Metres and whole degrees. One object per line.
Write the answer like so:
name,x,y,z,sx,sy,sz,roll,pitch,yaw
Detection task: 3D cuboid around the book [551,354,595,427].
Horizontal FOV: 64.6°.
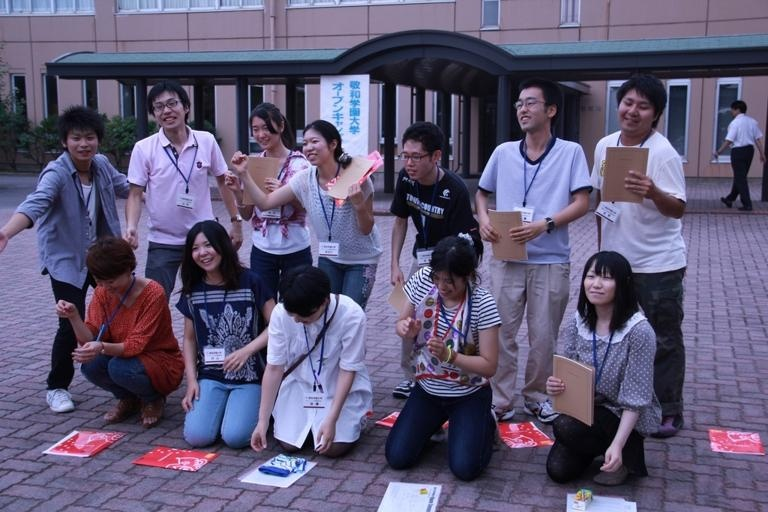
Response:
book,1.245,0.892,3.968,0.169,0.453,0.436,-3,6,-22

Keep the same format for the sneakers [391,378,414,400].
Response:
sneakers,0.171,1.165,5.270,0.106,0.135,0.303,-2,-3,34

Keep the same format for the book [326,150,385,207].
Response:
book,-0.237,-0.626,4.782,0.316,0.523,0.138,40,-2,44

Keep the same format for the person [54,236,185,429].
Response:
person,-2.047,0.583,4.805,0.829,1.501,0.469,-6,13,-20

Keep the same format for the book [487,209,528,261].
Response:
book,0.971,-0.168,4.719,0.359,0.501,0.054,-4,13,32

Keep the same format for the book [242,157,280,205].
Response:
book,-1.042,-0.636,5.138,0.383,0.561,0.059,1,-7,-2

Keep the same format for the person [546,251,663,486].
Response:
person,1.470,0.757,4.011,0.642,1.484,0.633,7,15,33

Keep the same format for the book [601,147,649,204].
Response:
book,1.754,-0.588,4.392,0.372,0.522,0.034,3,12,16

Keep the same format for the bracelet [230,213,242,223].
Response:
bracelet,-1.336,-0.335,5.526,0.087,0.065,0.090,-3,-8,-31

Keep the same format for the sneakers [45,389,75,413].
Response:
sneakers,-2.661,1.203,4.999,0.130,0.130,0.296,-13,15,-41

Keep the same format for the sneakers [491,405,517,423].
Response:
sneakers,0.959,1.279,4.893,0.255,0.125,0.096,4,-1,-31

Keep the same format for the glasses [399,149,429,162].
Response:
glasses,0.201,-0.781,4.713,0.290,0.072,0.147,11,18,41

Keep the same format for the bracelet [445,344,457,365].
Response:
bracelet,0.453,0.686,4.132,0.053,0.108,0.091,8,-7,-25

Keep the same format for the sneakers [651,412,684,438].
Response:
sneakers,2.189,1.265,4.717,0.164,0.193,0.470,-5,-2,38

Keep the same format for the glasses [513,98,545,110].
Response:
glasses,1.103,-1.177,4.711,0.121,0.100,0.265,-12,17,-39

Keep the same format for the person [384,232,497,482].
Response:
person,0.422,0.668,4.242,0.744,1.598,0.682,2,13,13

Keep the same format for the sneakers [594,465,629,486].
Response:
sneakers,1.510,1.473,4.086,0.232,0.170,0.107,0,4,-6
